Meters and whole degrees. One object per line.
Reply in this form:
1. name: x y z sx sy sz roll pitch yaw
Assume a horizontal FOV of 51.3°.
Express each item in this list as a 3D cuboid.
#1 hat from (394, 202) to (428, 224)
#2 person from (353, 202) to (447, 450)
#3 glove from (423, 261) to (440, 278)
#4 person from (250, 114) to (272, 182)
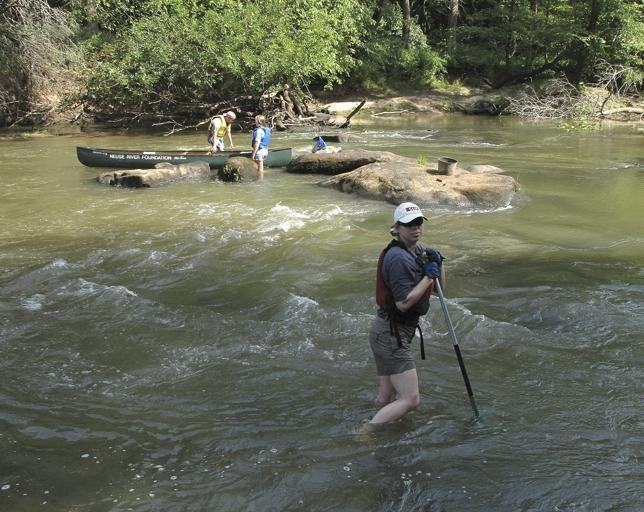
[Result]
1. hat: 0.924 -0.467 7.253 0.328 0.129 0.337 -2 -1 -12
2. person: 0.855 0.691 7.284 0.889 2.542 0.811 0 19 8
3. glove: 1.159 0.143 7.068 0.151 0.176 0.192 0 15 7
4. person: -1.688 -3.059 18.596 0.530 1.678 0.763 -5 18 -4
